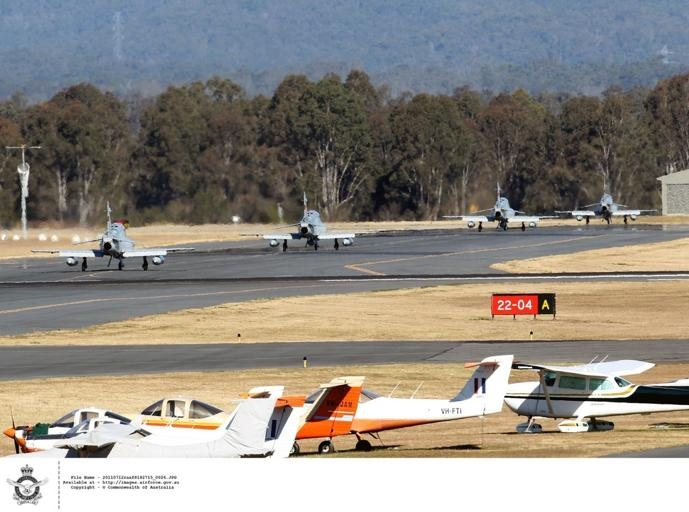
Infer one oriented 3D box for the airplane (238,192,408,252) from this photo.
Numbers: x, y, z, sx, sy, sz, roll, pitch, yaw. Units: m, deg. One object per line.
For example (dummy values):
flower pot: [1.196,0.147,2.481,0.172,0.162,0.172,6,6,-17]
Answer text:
airplane: [-4.294,-2.952,220.772,16.130,5.806,15.298,-2,-8,11]
